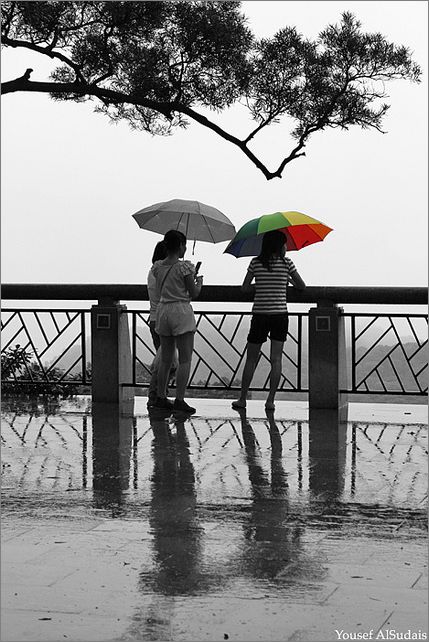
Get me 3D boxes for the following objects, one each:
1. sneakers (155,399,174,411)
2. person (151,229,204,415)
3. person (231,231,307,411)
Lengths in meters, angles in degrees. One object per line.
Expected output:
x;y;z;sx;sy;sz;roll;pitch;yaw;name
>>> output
-0.456;0.762;8.986;0.218;0.130;0.086;0;11;-13;sneakers
-0.333;0.018;8.625;0.390;1.645;0.643;-2;3;-40;person
0.473;-0.006;8.941;0.643;1.667;0.445;1;3;35;person
